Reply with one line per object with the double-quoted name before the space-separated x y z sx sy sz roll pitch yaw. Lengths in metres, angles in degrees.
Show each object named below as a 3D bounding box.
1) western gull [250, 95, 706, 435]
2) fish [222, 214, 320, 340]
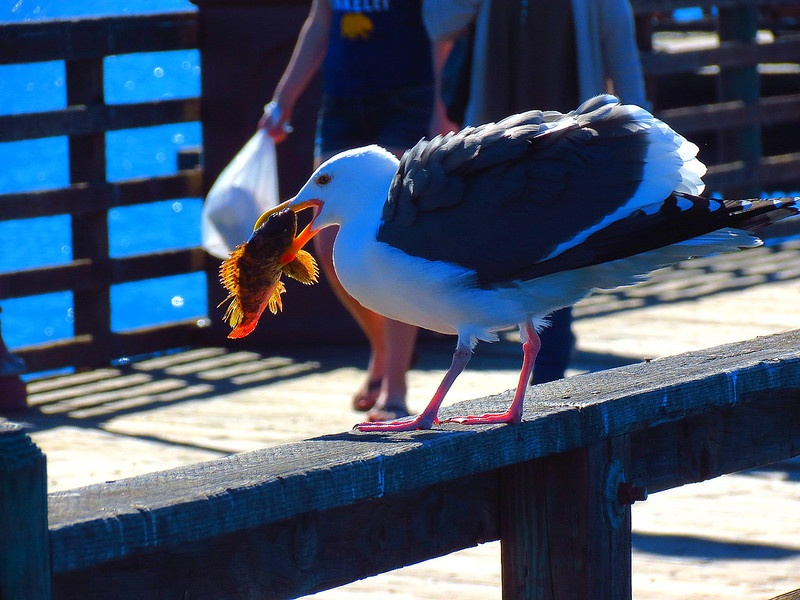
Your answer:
"western gull" 0.399 -0.129 6.179 1.708 0.870 0.698 -9 -8 19
"fish" -0.436 -0.105 6.123 0.264 0.446 0.228 23 10 -18
